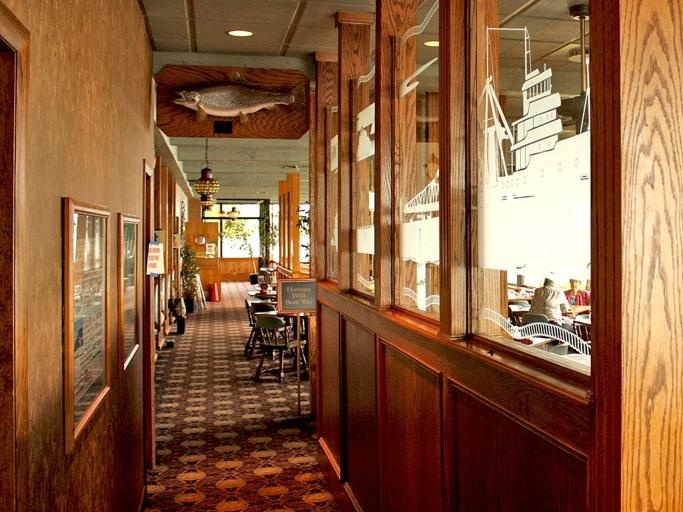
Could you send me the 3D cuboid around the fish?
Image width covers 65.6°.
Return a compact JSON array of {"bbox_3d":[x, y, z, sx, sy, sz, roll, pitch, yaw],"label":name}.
[{"bbox_3d":[-0.902,-1.317,4.552,1.048,0.299,0.141,-1,2,-15],"label":"fish"}]
